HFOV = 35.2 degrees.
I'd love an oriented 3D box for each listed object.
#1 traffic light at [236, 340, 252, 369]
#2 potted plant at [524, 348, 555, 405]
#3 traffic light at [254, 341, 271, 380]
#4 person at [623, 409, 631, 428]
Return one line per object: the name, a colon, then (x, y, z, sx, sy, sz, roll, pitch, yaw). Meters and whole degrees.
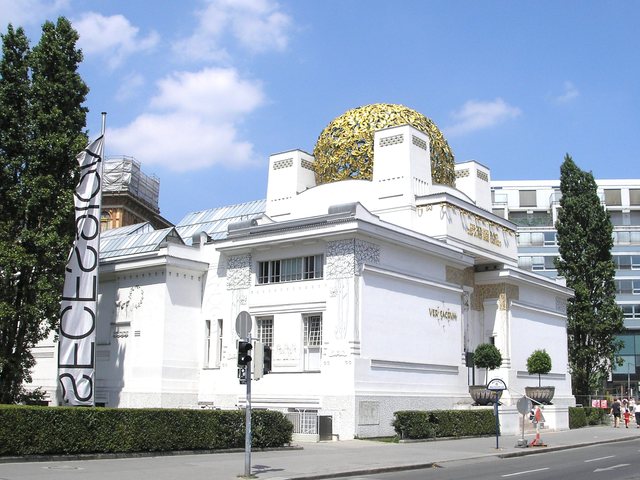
traffic light: (-2.859, 4.382, 38.757, 0.558, 0.983, 0.282, 3, 3, -5)
potted plant: (12.863, 7.953, 58.935, 1.680, 3.183, 1.751, 0, -8, 1)
traffic light: (-2.208, 4.704, 39.372, 0.510, 1.399, 1.411, 0, -7, 10)
person: (18.964, 11.141, 62.372, 0.321, 1.261, 2.527, 4, 3, 17)
